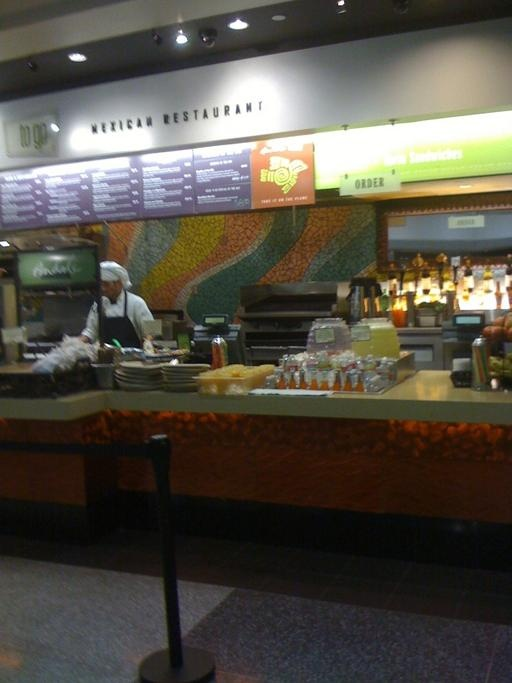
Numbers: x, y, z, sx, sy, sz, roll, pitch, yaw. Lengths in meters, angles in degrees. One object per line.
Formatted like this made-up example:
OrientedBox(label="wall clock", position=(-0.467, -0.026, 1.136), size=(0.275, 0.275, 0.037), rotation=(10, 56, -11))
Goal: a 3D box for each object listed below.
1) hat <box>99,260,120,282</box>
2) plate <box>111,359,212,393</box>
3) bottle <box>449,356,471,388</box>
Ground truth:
OrientedBox(label="hat", position=(-0.887, -0.423, 3.334), size=(0.142, 0.143, 0.118), rotation=(4, 6, -7))
OrientedBox(label="plate", position=(-0.399, 0.145, 2.288), size=(0.215, 0.132, 0.511), rotation=(0, -2, -42))
OrientedBox(label="bottle", position=(0.805, 0.122, 2.126), size=(0.074, 0.108, 0.121), rotation=(-3, -2, 20))
